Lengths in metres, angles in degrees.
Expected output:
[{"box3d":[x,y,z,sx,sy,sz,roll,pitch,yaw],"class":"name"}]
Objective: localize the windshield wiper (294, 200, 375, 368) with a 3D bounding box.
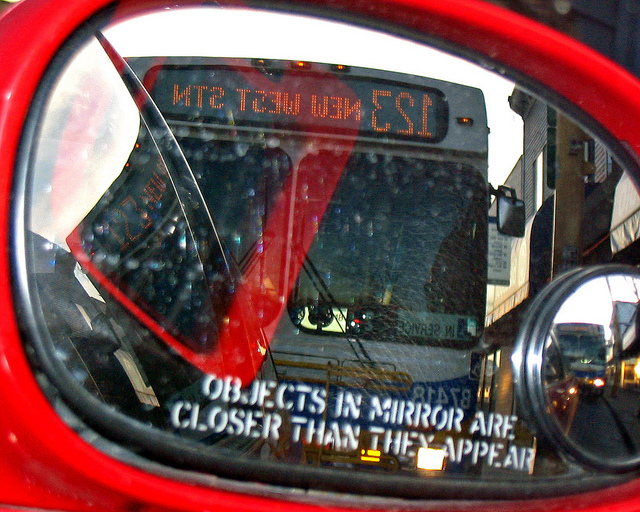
[{"box3d":[0.022,0.055,1.355,0.033,0.090,0.233,-23,82,29],"class":"windshield wiper"}]
